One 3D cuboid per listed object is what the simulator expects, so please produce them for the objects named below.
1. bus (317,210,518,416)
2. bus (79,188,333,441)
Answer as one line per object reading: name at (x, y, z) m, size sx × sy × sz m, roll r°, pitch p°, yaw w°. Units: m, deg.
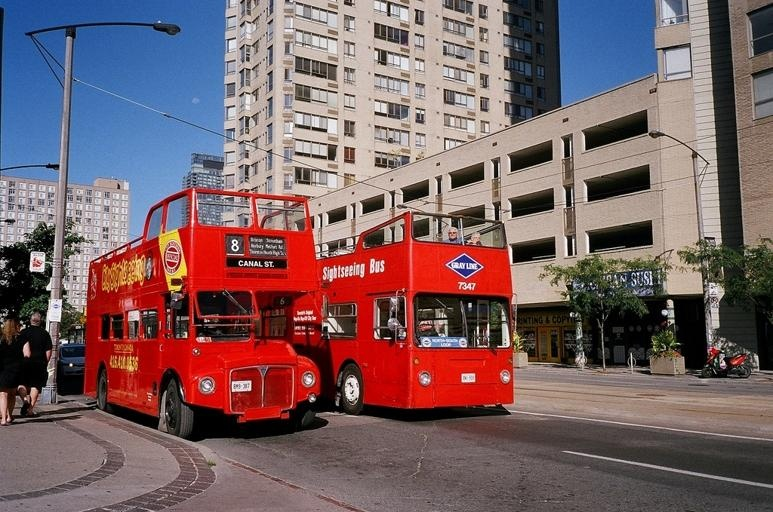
bus at (0.848, 1.825, 19.303) m, size 2.327 × 2.998 × 5.903 m, roll 4°, pitch -9°, yaw -24°
bus at (-4.557, 1.789, 17.708) m, size 3.328 × 4.144 × 7.277 m, roll 2°, pitch -5°, yaw -33°
